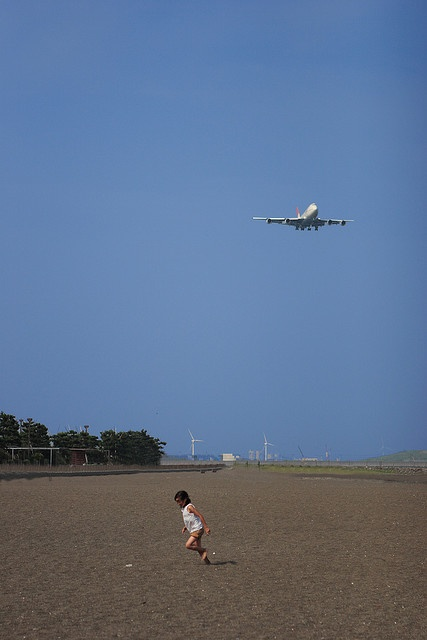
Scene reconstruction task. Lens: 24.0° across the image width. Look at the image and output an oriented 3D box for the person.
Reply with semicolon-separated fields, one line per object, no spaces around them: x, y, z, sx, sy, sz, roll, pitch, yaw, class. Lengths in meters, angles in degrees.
-0.383;3.972;19.186;0.630;1.379;1.689;0;-11;0;person
